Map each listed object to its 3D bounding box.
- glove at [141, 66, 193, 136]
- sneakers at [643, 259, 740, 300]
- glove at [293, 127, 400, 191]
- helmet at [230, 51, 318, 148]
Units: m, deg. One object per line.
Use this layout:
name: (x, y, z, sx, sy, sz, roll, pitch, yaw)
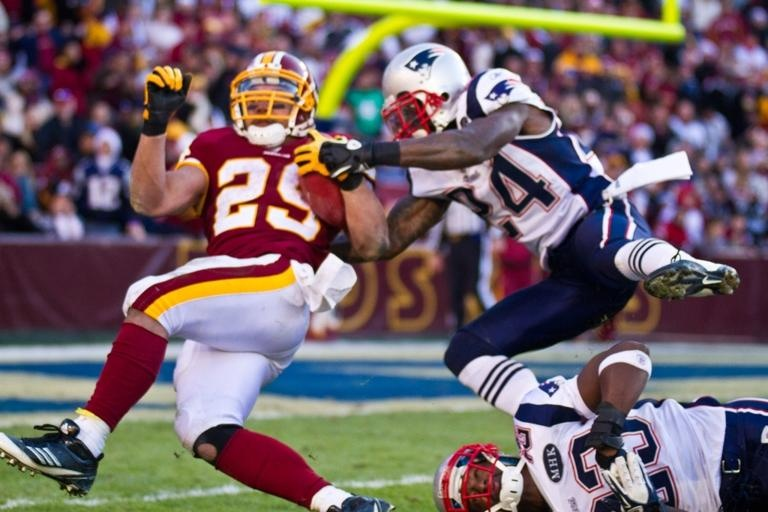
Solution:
glove: (-1.277, -0.915, 6.741, 0.278, 0.396, 0.185, -1, 16, -20)
sneakers: (1.759, 0.108, 6.660, 0.604, 0.223, 0.253, 1, 23, 2)
glove: (-0.268, -0.584, 6.803, 0.424, 0.313, 0.206, -12, 31, -20)
helmet: (-0.577, -0.939, 7.085, 0.472, 0.515, 0.598, -2, -5, 20)
